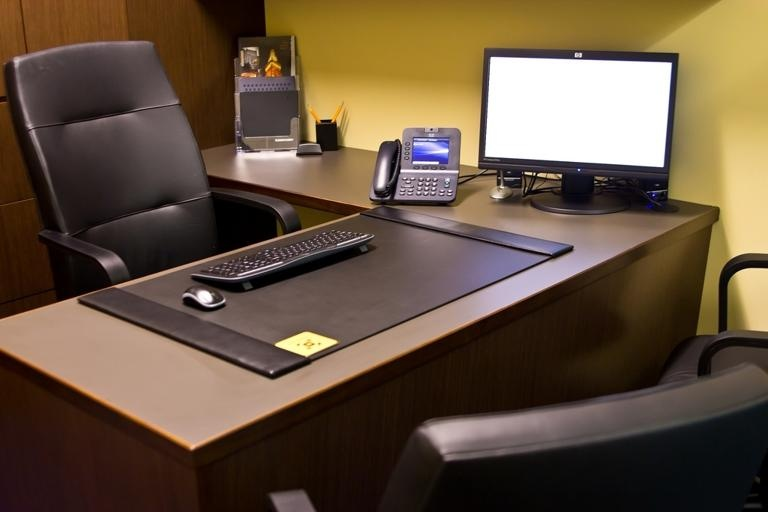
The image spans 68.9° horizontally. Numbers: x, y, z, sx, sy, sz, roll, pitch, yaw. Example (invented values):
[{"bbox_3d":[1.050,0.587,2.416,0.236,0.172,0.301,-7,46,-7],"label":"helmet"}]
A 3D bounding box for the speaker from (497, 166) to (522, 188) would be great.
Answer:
[{"bbox_3d":[0.480,-0.306,2.125,0.082,0.060,0.083,5,23,11],"label":"speaker"}]

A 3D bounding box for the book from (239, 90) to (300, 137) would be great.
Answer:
[{"bbox_3d":[-0.572,-0.658,2.702,0.250,0.228,0.058,1,3,-13],"label":"book"}]

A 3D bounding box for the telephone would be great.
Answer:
[{"bbox_3d":[0.116,-0.351,2.085,0.342,0.113,0.415,14,46,17],"label":"telephone"}]

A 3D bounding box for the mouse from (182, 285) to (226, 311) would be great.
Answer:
[{"bbox_3d":[-0.421,0.090,1.342,0.081,0.026,0.058,12,25,31],"label":"mouse"}]
